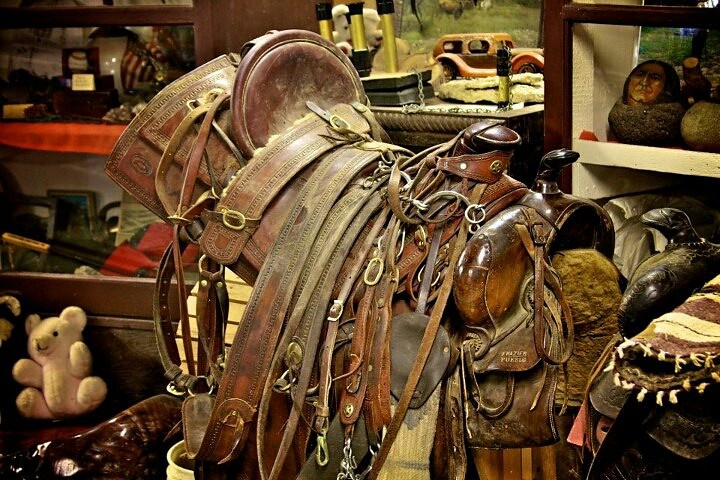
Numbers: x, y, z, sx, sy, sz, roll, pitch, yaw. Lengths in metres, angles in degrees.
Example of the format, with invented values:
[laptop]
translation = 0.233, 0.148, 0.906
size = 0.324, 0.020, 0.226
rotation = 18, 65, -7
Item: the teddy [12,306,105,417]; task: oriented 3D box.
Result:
[teddy]
translation = -1.296, 0.537, 2.792
size = 0.332, 0.497, 0.242
rotation = -6, -5, -4
